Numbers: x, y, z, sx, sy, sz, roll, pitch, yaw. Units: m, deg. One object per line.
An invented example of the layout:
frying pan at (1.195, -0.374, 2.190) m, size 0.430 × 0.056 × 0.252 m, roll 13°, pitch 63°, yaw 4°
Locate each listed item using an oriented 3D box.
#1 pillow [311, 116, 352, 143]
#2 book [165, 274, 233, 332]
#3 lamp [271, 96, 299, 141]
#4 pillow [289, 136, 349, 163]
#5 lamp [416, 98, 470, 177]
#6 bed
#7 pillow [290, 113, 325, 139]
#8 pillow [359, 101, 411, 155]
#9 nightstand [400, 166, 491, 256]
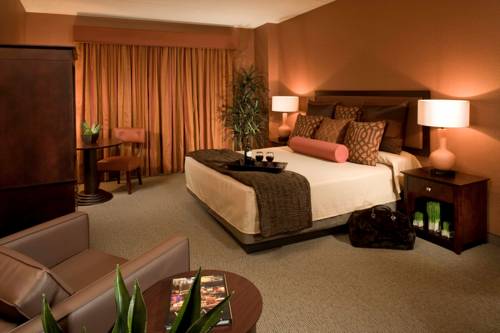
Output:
pillow at (1.173, -0.511, 4.838) m, size 0.121 × 0.387 × 0.403 m, roll 26°, pitch -2°, yaw -32°
book at (-0.310, 0.810, 2.102) m, size 0.380 × 0.180 × 0.402 m, roll -1°, pitch 12°, yaw -6°
lamp at (0.655, -0.904, 6.439) m, size 0.520 × 0.815 × 0.525 m, roll 1°, pitch 7°, yaw 10°
pillow at (0.947, -0.277, 4.795) m, size 0.264 × 0.269 × 0.983 m, roll -7°, pitch 14°, yaw -32°
lamp at (2.121, -0.327, 3.766) m, size 0.418 × 0.813 × 0.342 m, roll -3°, pitch 13°, yaw -17°
bed at (0.792, 0.148, 4.450) m, size 2.375 × 1.464 × 2.375 m, roll -4°, pitch 7°, yaw -25°
pillow at (0.900, -0.637, 5.348) m, size 0.160 × 0.382 × 0.540 m, roll 21°, pitch 6°, yaw -19°
pillow at (1.798, -0.484, 4.446) m, size 0.298 × 0.584 × 0.643 m, roll -11°, pitch 16°, yaw -26°
nightstand at (2.283, 0.509, 3.937) m, size 0.527 × 0.745 × 0.764 m, roll -5°, pitch 5°, yaw -19°
